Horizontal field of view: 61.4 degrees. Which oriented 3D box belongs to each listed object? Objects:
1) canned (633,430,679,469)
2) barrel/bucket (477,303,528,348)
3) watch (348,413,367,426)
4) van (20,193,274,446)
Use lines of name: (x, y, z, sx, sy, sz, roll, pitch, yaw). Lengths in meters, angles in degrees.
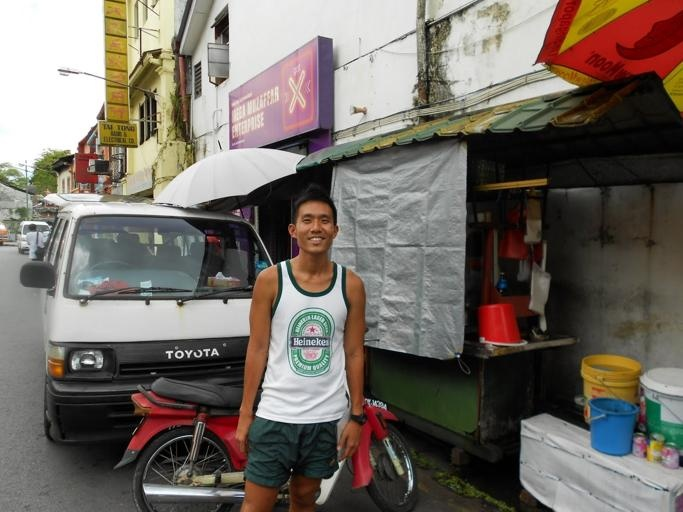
canned: (2.449, 1.510, 4.451, 0.167, 0.187, 0.290, 2, -2, -28)
barrel/bucket: (1.505, 0.664, 5.452, 0.389, 0.384, 0.373, -7, -4, -1)
watch: (0.105, 1.067, 3.747, 0.097, 0.072, 0.104, -8, -19, 32)
van: (-2.260, 0.483, 6.415, 1.777, 1.706, 2.963, 4, -2, -22)
